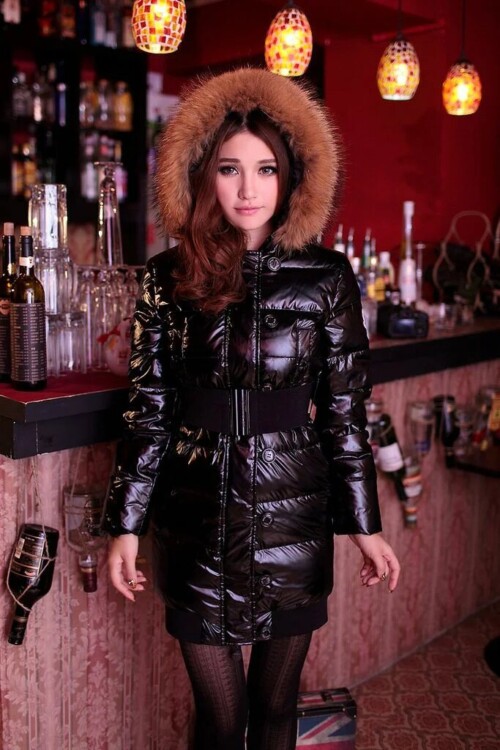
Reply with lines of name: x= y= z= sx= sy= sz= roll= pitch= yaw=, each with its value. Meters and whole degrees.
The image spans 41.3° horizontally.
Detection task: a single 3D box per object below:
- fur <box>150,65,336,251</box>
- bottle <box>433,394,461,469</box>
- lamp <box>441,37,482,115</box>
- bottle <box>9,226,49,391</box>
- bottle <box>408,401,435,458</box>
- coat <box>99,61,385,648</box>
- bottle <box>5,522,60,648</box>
fur: x=0.008 y=-0.388 z=1.161 sx=0.283 sy=0.330 sz=0.117 roll=6 pitch=21 yaw=-1
bottle: x=0.665 y=0.197 z=2.256 sx=0.131 sy=0.250 sz=0.055 roll=0 pitch=6 yaw=-20
lamp: x=0.810 y=-1.118 z=2.539 sx=0.128 sy=0.205 sz=0.127 roll=6 pitch=7 yaw=38
bottle: x=-0.400 y=-0.114 z=1.198 sx=0.058 sy=0.278 sz=0.074 roll=0 pitch=6 yaw=-21
bottle: x=0.577 y=0.173 z=2.188 sx=0.055 sy=0.182 sz=0.171 roll=6 pitch=7 yaw=35
coat: x=0.007 y=-0.031 z=1.138 sx=0.453 sy=0.960 sz=0.247 roll=3 pitch=6 yaw=11
bottle: x=-0.408 y=0.388 z=1.233 sx=0.068 sy=0.209 sz=0.070 roll=2 pitch=6 yaw=0
